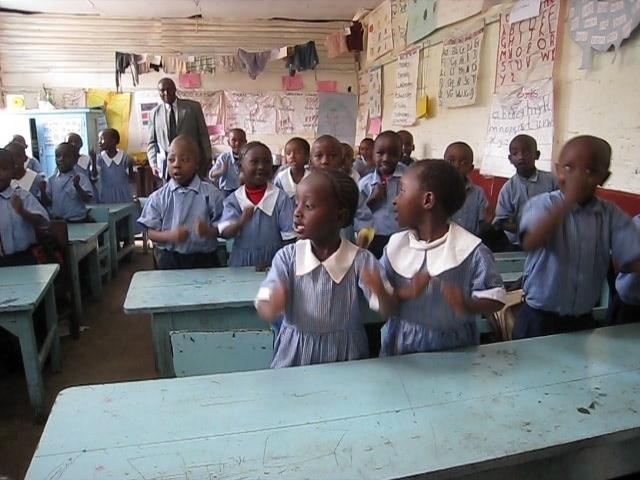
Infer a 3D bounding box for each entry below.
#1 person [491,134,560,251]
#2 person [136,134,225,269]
[{"bbox_3d":[1.381,-0.242,3.190,0.468,0.860,0.436,-5,12,20],"label":"person"},{"bbox_3d":[-0.730,-0.169,2.531,0.434,0.732,0.480,-3,14,-10],"label":"person"}]
